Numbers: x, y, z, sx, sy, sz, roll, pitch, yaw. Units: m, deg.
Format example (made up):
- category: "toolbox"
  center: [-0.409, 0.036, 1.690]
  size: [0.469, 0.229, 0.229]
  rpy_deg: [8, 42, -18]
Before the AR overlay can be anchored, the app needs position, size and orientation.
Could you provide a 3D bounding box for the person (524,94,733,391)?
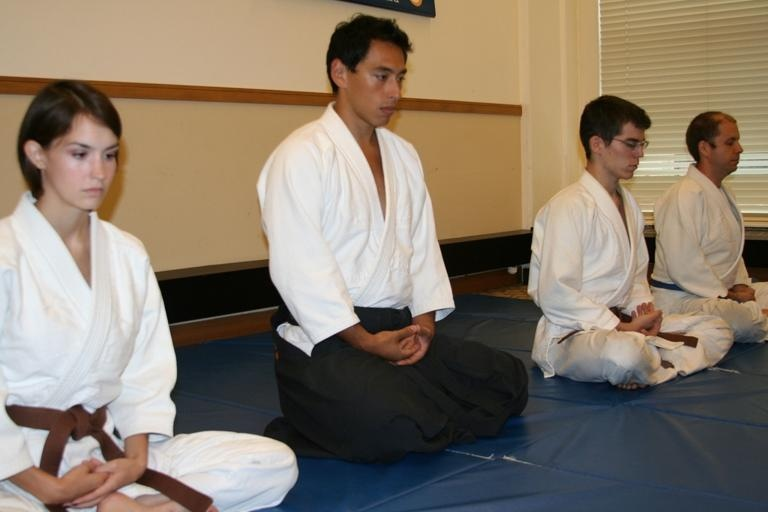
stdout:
- category: "person"
  center: [1.174, -0.113, 2.899]
  size: [0.835, 1.383, 0.653]
  rpy_deg: [-10, 13, -28]
